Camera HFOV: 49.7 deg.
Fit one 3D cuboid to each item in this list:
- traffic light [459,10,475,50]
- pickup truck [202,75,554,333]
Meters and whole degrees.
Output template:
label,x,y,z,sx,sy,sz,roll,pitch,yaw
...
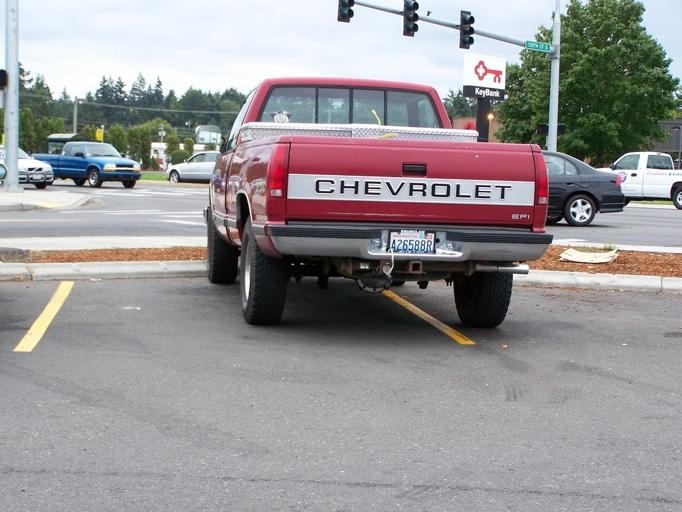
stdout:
label,x,y,z,sx,sy,sz,roll,pitch,yaw
traffic light,4.666,-8.207,27.234,0.575,1.322,0.905,3,8,7
pickup truck,-0.056,-0.981,8.958,2.828,2.040,5.035,-1,13,-16
